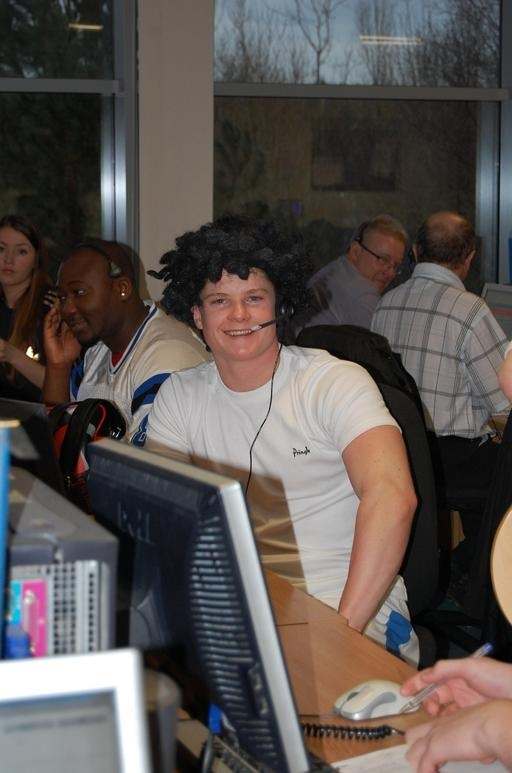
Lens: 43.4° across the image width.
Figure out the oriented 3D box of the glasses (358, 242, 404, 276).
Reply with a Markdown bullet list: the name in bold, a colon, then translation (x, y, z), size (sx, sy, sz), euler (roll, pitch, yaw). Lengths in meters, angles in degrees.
- **glasses**: translation (0.712, -0.742, 3.627), size (0.188, 0.060, 0.186), euler (28, 5, 12)

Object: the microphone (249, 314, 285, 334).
- **microphone**: translation (0.021, -0.142, 1.438), size (0.021, 0.018, 0.144), euler (-3, 12, 43)

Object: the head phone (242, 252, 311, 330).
- **head phone**: translation (0.048, -0.227, 1.521), size (0.160, 0.189, 0.099), euler (11, 12, 30)

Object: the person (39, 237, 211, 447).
- **person**: translation (-0.473, -0.144, 2.312), size (0.717, 0.720, 0.435), euler (15, 23, 36)

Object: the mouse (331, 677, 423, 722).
- **mouse**: translation (0.148, 0.381, 0.779), size (0.078, 0.028, 0.046), euler (2, -4, -19)
